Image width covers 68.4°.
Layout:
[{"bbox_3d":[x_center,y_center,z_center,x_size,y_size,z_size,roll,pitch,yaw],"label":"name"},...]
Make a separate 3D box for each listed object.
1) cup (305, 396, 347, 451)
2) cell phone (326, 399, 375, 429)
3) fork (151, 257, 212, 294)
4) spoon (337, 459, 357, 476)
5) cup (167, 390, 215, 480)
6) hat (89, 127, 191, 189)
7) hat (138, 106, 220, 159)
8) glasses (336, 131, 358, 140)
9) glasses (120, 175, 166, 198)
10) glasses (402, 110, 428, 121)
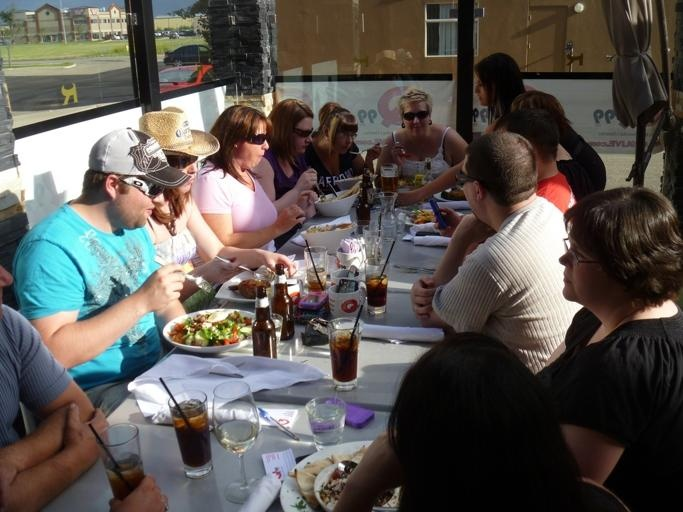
[{"bbox_3d":[-0.047,0.540,1.720,0.138,0.174,0.150,-2,16,0],"label":"cup"},{"bbox_3d":[0.047,0.559,1.794,0.144,0.037,0.120,15,19,37],"label":"cell phone"},{"bbox_3d":[-0.866,0.106,2.697,0.294,0.073,0.063,37,51,4],"label":"fork"},{"bbox_3d":[0.008,0.617,1.476,0.066,0.031,0.070,2,6,7],"label":"spoon"},{"bbox_3d":[-0.469,0.563,1.579,0.109,0.240,0.111,-2,16,1],"label":"cup"},{"bbox_3d":[-0.984,-0.471,2.411,0.396,0.221,0.259,4,14,-28],"label":"hat"},{"bbox_3d":[-1.079,-0.816,3.362,0.469,0.205,0.416,15,32,8],"label":"hat"},{"bbox_3d":[0.054,-1.168,4.816,0.205,0.058,0.070,-13,19,-32],"label":"glasses"},{"bbox_3d":[-0.950,-0.348,2.400,0.114,0.034,0.098,22,5,22],"label":"glasses"},{"bbox_3d":[0.767,-1.452,5.172,0.127,0.049,0.140,-8,0,12],"label":"glasses"}]
